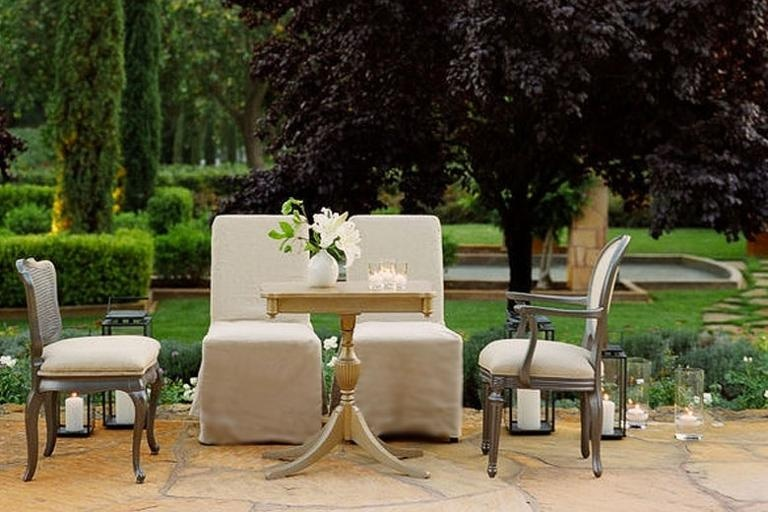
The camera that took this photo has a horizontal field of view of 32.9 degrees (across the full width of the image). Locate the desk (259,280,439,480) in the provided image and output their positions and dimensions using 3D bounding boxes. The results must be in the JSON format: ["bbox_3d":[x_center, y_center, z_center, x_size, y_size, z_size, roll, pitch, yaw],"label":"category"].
[{"bbox_3d":[-0.434,1.342,14.707,2.126,2.072,2.363,1,3,20],"label":"desk"}]

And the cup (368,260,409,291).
[{"bbox_3d":[0.036,0.247,14.309,0.334,0.235,0.359,2,-1,0],"label":"cup"}]

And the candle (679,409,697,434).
[{"bbox_3d":[3.485,1.882,14.975,0.268,0.301,0.208,0,-3,-19],"label":"candle"}]

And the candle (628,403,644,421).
[{"bbox_3d":[2.942,1.831,15.237,0.162,0.127,0.174,0,-4,4],"label":"candle"}]

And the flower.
[{"bbox_3d":[-0.753,-0.299,14.530,1.062,0.665,0.907,-1,-5,27],"label":"flower"}]

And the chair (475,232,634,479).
[{"bbox_3d":[1.866,1.080,14.441,1.593,2.600,0.946,-1,2,-12],"label":"chair"}]
